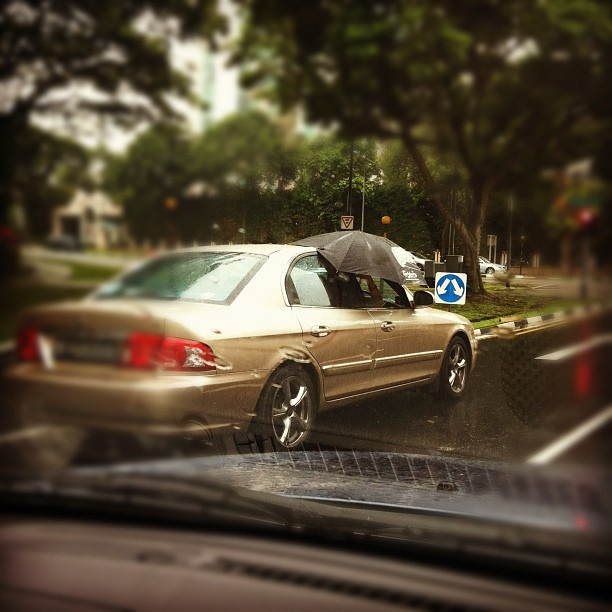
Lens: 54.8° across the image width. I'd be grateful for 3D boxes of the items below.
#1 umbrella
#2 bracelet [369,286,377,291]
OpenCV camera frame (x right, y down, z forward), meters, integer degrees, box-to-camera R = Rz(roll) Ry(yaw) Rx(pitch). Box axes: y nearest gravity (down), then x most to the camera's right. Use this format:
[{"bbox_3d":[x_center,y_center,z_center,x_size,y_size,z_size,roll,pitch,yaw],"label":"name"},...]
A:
[{"bbox_3d":[0.474,-0.439,5.151,1.246,0.451,1.378,10,0,-21],"label":"umbrella"},{"bbox_3d":[0.551,-0.146,4.906,0.047,0.046,0.012,1,-5,-35],"label":"bracelet"}]
